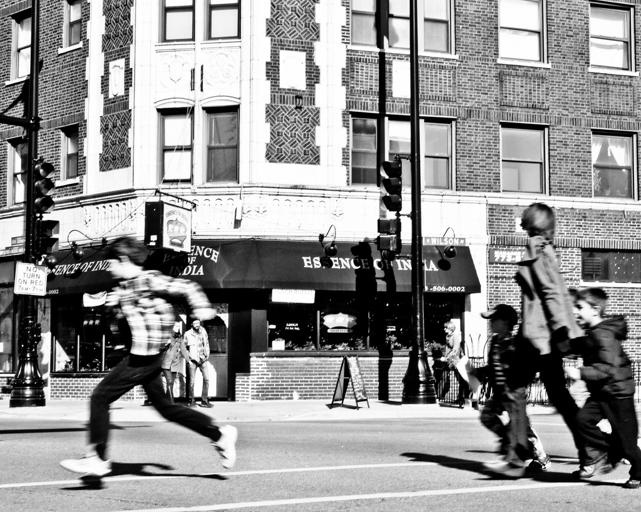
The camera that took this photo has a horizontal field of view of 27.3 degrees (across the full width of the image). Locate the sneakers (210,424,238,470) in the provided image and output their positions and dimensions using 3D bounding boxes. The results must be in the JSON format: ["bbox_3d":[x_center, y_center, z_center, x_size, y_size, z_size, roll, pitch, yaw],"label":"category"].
[{"bbox_3d":[-1.246,2.424,17.006,0.301,0.637,0.238,-7,4,-8],"label":"sneakers"}]

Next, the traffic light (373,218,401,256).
[{"bbox_3d":[1.428,-0.422,28.569,0.408,0.807,0.823,-3,-7,30],"label":"traffic light"}]

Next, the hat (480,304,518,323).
[{"bbox_3d":[2.355,0.776,17.401,0.393,0.186,0.243,5,-9,8],"label":"hat"}]

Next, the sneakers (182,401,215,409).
[{"bbox_3d":[-2.600,3.149,27.949,0.649,0.262,0.213,-2,1,3],"label":"sneakers"}]

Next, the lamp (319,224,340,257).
[{"bbox_3d":[0.161,-0.350,30.798,0.428,0.826,0.758,1,-6,0],"label":"lamp"}]

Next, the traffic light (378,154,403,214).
[{"bbox_3d":[1.520,-1.526,28.599,0.398,1.212,0.495,1,-6,-2],"label":"traffic light"}]

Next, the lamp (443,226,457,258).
[{"bbox_3d":[3.060,-0.330,31.526,0.346,0.825,0.887,0,-6,5],"label":"lamp"}]

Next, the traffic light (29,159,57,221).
[{"bbox_3d":[-5.979,-1.441,28.390,0.428,1.342,0.563,2,-6,-9],"label":"traffic light"}]
